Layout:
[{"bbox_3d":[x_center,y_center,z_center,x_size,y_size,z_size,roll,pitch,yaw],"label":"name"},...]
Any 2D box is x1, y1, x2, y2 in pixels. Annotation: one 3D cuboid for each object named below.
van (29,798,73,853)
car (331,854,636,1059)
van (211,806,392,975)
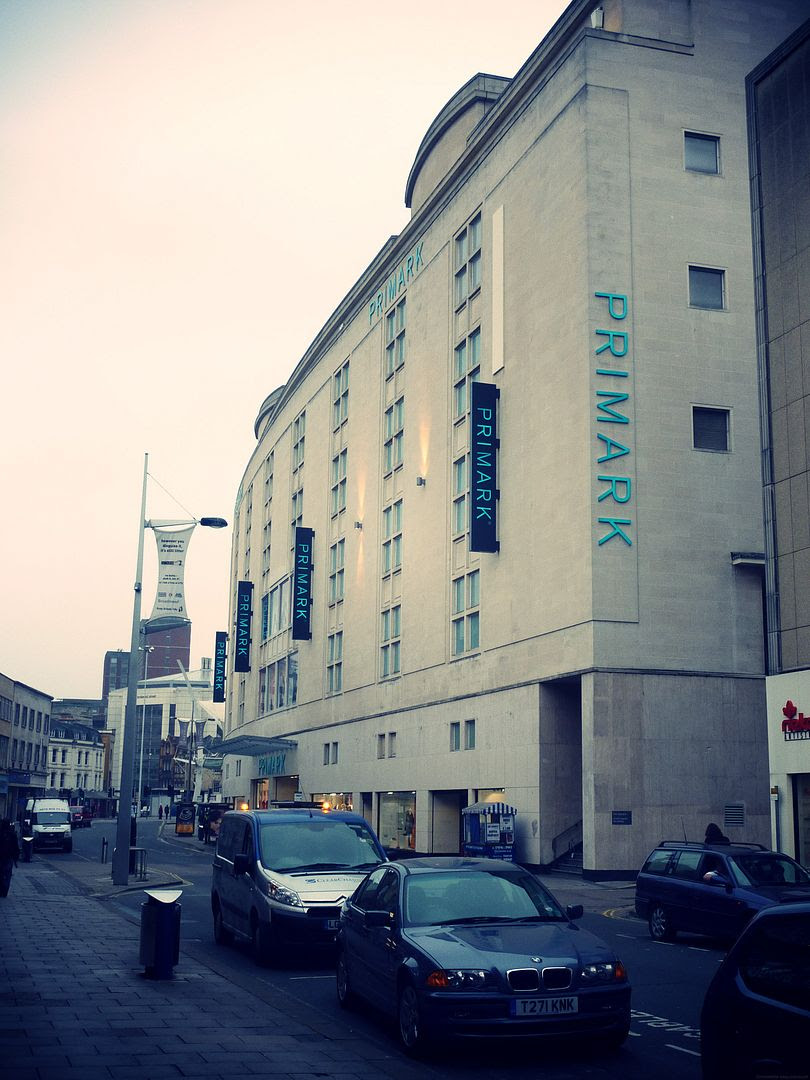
[{"bbox_3d":[-15.663,12.840,48.214,1.681,1.896,2.633,5,-12,-20],"label":"van"},{"bbox_3d":[0.395,3.104,8.197,1.015,0.922,2.427,3,-19,-12],"label":"car"},{"bbox_3d":[-1.406,4.196,13.270,1.299,1.486,2.780,6,-26,-15],"label":"van"}]
